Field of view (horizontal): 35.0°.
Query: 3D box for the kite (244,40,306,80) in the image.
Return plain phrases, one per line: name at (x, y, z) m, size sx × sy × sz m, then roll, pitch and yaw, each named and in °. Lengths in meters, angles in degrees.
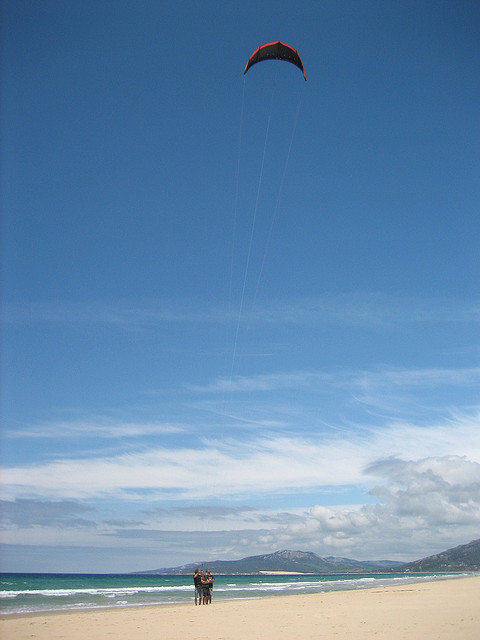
kite at (1.326, -9.746, 28.702) m, size 2.326 × 1.087 × 1.626 m, roll 0°, pitch -39°, yaw 1°
